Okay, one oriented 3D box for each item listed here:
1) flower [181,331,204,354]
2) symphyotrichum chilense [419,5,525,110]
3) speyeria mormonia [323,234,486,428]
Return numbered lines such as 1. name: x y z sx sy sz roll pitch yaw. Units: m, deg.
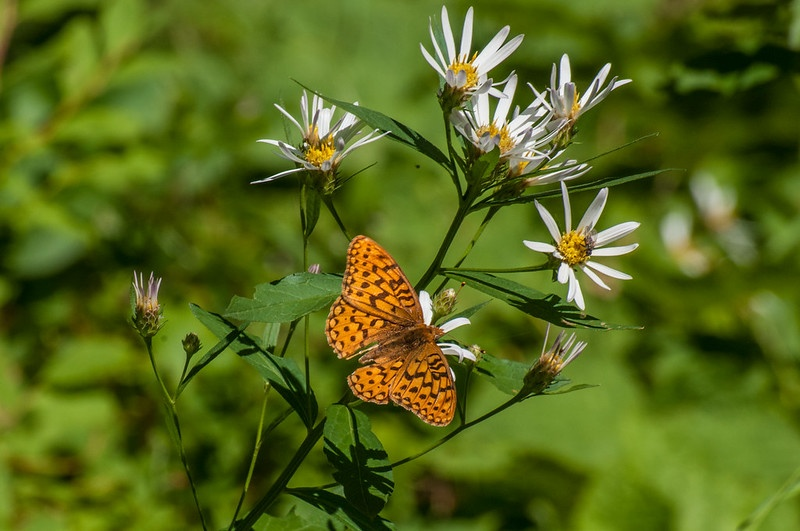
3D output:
1. flower: -1.154 0.424 5.547 0.085 0.098 0.111 -30 35 37
2. symphyotrichum chilense: 0.352 -1.133 5.214 0.462 0.317 0.600 7 59 -16
3. speyeria mormonia: -0.006 0.402 5.135 0.618 0.320 1.144 -19 51 -12
